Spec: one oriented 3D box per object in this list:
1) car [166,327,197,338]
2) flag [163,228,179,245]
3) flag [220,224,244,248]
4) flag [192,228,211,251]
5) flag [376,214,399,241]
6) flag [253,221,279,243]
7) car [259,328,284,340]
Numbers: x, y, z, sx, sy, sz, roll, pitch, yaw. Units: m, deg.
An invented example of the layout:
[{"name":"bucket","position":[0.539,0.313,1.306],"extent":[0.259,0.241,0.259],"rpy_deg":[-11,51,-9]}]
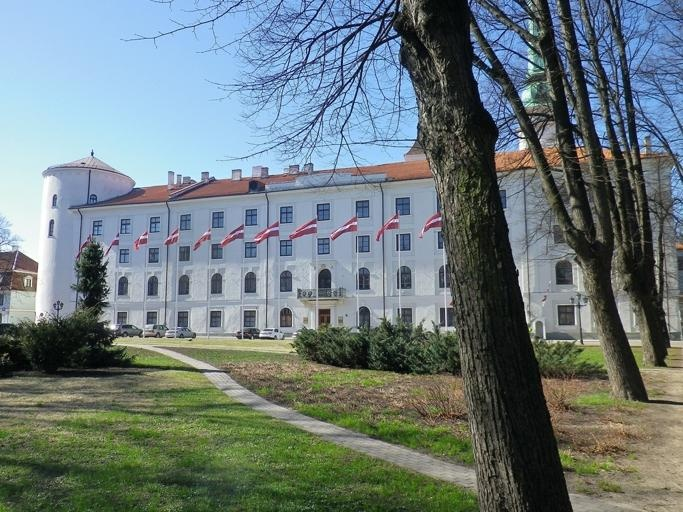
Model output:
[{"name":"car","position":[-14.069,6.718,55.642],"extent":[2.050,0.647,0.976],"rpy_deg":[0,-4,-17]},{"name":"flag","position":[-15.439,-1.841,57.698],"extent":[1.528,1.115,0.440],"rpy_deg":[-18,-20,40]},{"name":"flag","position":[-9.597,-1.798,55.834],"extent":[2.868,0.514,2.121],"rpy_deg":[-31,20,-5]},{"name":"flag","position":[-12.314,-1.542,56.589],"extent":[1.501,2.053,7.963],"rpy_deg":[1,0,-12]},{"name":"flag","position":[3.684,-2.339,51.619],"extent":[2.358,2.310,0.280],"rpy_deg":[-4,-8,39]},{"name":"flag","position":[-5.819,-1.931,49.739],"extent":[1.609,1.126,2.589],"rpy_deg":[1,0,-2]},{"name":"car","position":[-6.049,6.678,54.703],"extent":[0.858,0.636,1.898],"rpy_deg":[-3,-4,37]}]
